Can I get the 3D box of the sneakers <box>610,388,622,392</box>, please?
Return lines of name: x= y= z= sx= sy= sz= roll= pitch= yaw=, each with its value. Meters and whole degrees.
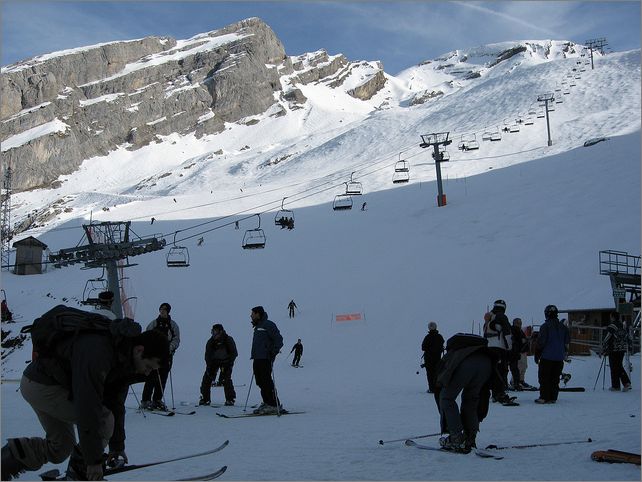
sneakers: x=12.260 y=6.141 z=33.229 sx=0.384 sy=0.192 sz=0.171 roll=2 pitch=7 yaw=40

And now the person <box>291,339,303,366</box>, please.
person: x=-1.182 y=5.786 z=41.641 sx=0.626 sy=1.304 sz=1.558 roll=-5 pitch=-1 yaw=-3

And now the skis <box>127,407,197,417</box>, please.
skis: x=-6.420 y=6.865 z=32.223 sx=2.360 sy=0.193 sz=0.285 roll=0 pitch=3 yaw=11

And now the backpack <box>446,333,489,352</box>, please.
backpack: x=5.305 y=3.670 z=29.156 sx=0.946 sy=0.458 sz=0.782 roll=-7 pitch=-5 yaw=22

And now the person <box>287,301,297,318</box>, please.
person: x=-1.620 y=4.037 z=47.609 sx=0.524 sy=0.958 sz=1.439 roll=-5 pitch=-2 yaw=-2

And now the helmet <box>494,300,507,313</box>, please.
helmet: x=7.348 y=2.651 z=32.782 sx=0.508 sy=0.542 sz=0.435 roll=1 pitch=-1 yaw=-44

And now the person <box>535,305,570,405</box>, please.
person: x=9.362 y=4.604 z=32.468 sx=1.369 sy=4.067 sz=0.359 roll=-5 pitch=-1 yaw=4

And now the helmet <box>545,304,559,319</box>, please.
helmet: x=9.460 y=2.930 z=32.721 sx=0.518 sy=0.570 sz=0.454 roll=-1 pitch=-13 yaw=23

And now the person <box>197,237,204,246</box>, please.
person: x=-9.130 y=0.020 z=61.360 sx=0.450 sy=0.225 sz=1.012 roll=20 pitch=-34 yaw=-5

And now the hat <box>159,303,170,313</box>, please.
hat: x=-6.286 y=2.673 z=32.594 sx=0.414 sy=0.425 sz=0.526 roll=12 pitch=-1 yaw=-2

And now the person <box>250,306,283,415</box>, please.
person: x=-2.160 y=4.756 z=32.004 sx=1.196 sy=3.998 sz=0.564 roll=-4 pitch=-1 yaw=-5
